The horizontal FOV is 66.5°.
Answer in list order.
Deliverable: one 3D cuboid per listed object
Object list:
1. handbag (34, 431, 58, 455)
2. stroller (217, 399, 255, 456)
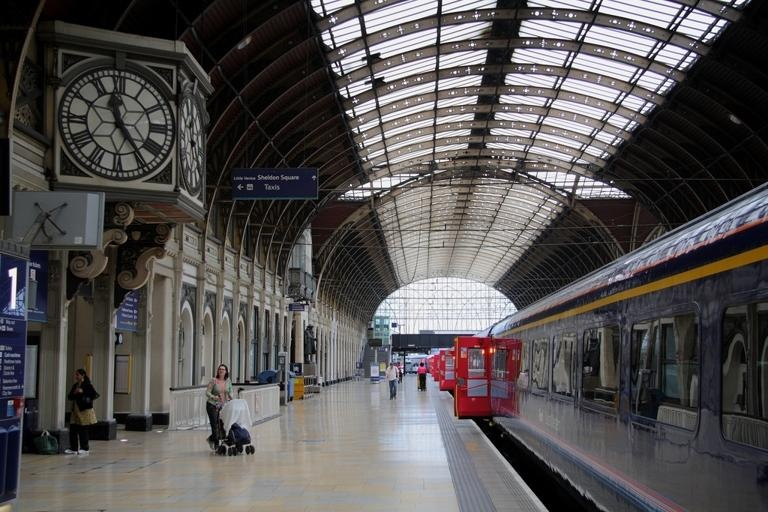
[{"bbox_3d":[-9.021,5.045,15.569,0.531,0.718,0.358,-1,-1,-6],"label":"handbag"},{"bbox_3d":[-3.942,4.516,15.273,0.897,1.427,1.045,-3,-13,8],"label":"stroller"}]
